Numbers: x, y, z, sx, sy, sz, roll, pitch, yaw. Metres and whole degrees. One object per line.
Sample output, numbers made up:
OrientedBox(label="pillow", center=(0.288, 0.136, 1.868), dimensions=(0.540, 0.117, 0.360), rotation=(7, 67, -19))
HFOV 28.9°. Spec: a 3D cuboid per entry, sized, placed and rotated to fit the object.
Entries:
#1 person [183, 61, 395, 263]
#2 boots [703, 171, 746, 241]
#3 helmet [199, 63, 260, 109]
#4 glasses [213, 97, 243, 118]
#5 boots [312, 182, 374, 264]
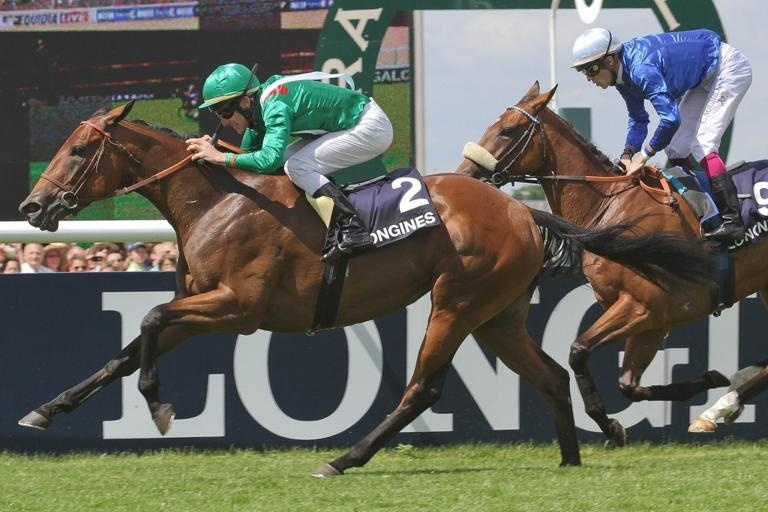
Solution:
OrientedBox(label="person", center=(-0.616, -0.674, 10.273), dimensions=(1.193, 1.280, 0.706), rotation=(2, 13, 15))
OrientedBox(label="boots", center=(2.436, -0.338, 10.641), dimensions=(0.333, 0.478, 0.166), rotation=(13, 40, 37))
OrientedBox(label="helmet", center=(-1.077, -1.196, 10.317), dimensions=(0.521, 0.259, 0.366), rotation=(-16, 14, -39))
OrientedBox(label="glasses", center=(-1.080, -1.017, 10.232), dimensions=(0.130, 0.086, 0.174), rotation=(8, 33, 40))
OrientedBox(label="boots", center=(-0.286, -0.212, 10.137), dimensions=(0.405, 0.496, 0.188), rotation=(-29, -14, 13))
